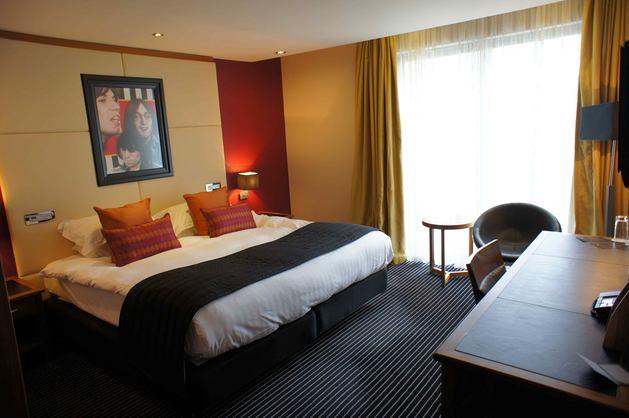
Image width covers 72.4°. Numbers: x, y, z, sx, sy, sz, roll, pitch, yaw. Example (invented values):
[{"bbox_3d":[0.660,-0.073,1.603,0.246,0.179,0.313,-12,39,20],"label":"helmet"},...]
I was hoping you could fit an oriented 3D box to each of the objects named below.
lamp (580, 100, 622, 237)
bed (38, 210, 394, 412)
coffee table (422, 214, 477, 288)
[{"bbox_3d":[2.895,-0.393,4.402,0.344,1.357,0.677,3,16,34],"label":"lamp"},{"bbox_3d":[-1.191,0.854,4.000,1.948,0.774,2.024,2,8,31],"label":"bed"},{"bbox_3d":[1.649,0.491,5.575,0.779,0.974,0.782,-3,5,-31],"label":"coffee table"}]
